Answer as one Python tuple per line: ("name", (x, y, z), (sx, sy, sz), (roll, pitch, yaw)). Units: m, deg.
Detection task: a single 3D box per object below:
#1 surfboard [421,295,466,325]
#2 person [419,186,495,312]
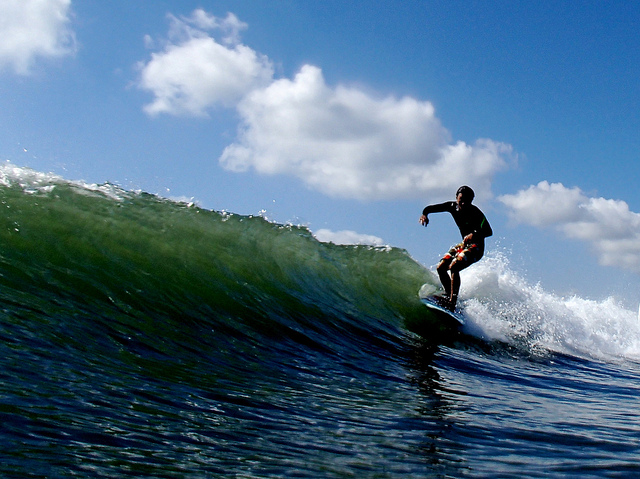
("surfboard", (2.278, 1.307, 11.473), (0.873, 0.417, 0.568), (11, 5, 23))
("person", (2.422, 0.170, 11.157), (1.087, 2.051, 0.685), (13, 4, 12))
